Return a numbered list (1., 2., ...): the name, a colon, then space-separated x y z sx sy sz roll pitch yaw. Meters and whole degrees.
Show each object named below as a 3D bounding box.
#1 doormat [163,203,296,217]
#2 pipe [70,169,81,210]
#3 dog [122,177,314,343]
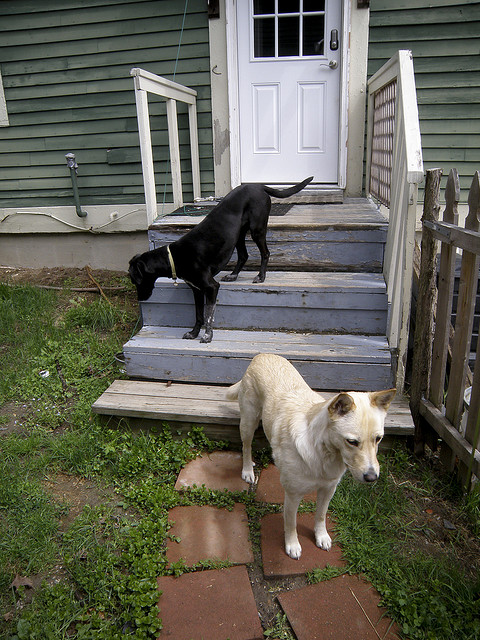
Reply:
1. doormat: -0.052 -0.982 4.140 1.093 0.048 0.764 1 19 6
2. pipe: -1.844 -1.458 5.228 0.063 0.434 0.184 -8 19 -18
3. dog: -0.052 -0.496 3.221 0.360 0.830 1.657 28 57 38
